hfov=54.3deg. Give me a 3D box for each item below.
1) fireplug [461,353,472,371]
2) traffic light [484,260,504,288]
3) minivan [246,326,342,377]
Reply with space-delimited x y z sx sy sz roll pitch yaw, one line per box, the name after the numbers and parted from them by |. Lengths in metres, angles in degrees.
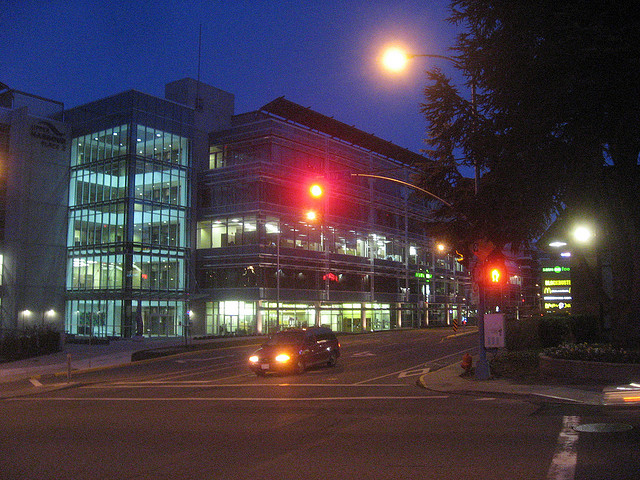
6.159 5.138 26.111 0.356 0.618 0.953 -3 -11 10 | fireplug
7.235 1.417 25.974 1.098 1.267 0.113 -2 2 -41 | traffic light
-1.019 5.293 29.290 1.943 1.596 4.274 -6 -12 27 | minivan
